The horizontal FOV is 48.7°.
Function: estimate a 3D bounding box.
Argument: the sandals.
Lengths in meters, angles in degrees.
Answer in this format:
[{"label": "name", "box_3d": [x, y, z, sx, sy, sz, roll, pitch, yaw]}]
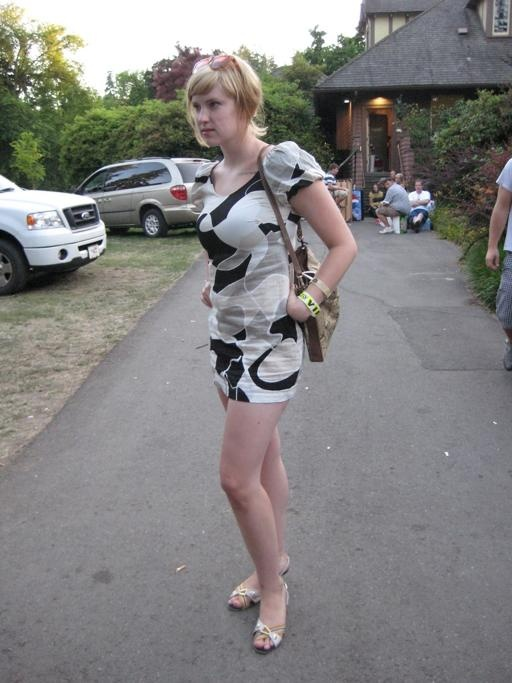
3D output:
[{"label": "sandals", "box_3d": [0.013, 0.945, 1.990, 0.108, 0.113, 0.294, 3, 0, 13]}]

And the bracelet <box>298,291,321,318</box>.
[{"label": "bracelet", "box_3d": [0.163, -0.111, 1.731, 0.028, 0.075, 0.062, -43, 3, 0]}]

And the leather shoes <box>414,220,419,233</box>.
[{"label": "leather shoes", "box_3d": [4.459, -3.162, 15.753, 0.105, 0.300, 0.140, 2, 15, 7]}]

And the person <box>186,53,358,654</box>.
[{"label": "person", "box_3d": [0.049, 0.051, 1.868, 0.455, 1.885, 0.486, -6, 14, -19]}]
